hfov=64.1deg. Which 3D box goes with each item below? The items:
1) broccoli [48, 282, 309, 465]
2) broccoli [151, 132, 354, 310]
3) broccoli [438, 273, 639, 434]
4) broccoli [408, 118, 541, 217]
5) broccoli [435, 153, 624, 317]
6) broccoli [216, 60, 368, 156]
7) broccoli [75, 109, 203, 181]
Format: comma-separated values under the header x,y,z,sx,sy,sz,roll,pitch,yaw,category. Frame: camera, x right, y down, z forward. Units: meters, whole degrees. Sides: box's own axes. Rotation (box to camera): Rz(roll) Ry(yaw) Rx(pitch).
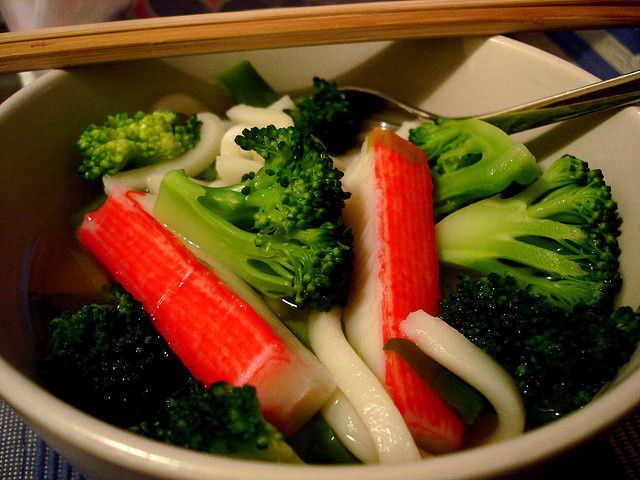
x,y,z,sx,sy,sz,roll,pitch,yaw,category
-0.340,0.303,1.094,0.551,0.282,0.133,10,-1,9,broccoli
-0.118,-0.056,1.231,0.526,0.297,0.293,33,53,15,broccoli
0.492,0.208,1.163,0.299,0.220,0.351,-25,60,-29,broccoli
0.414,-0.221,1.413,0.355,0.089,0.255,35,91,40,broccoli
0.556,0.003,1.286,0.503,0.231,0.360,-5,64,16,broccoli
-0.053,-0.435,1.742,0.458,0.244,0.235,27,27,11,broccoli
-0.436,-0.250,1.549,0.456,0.164,0.242,-5,8,-43,broccoli
